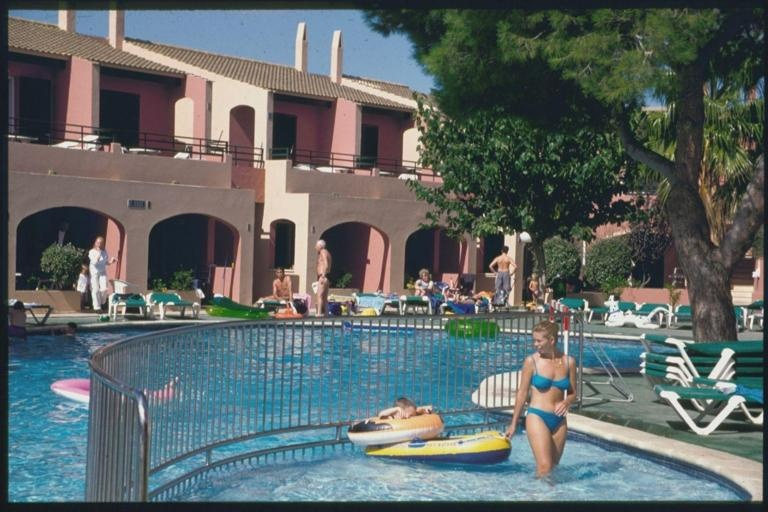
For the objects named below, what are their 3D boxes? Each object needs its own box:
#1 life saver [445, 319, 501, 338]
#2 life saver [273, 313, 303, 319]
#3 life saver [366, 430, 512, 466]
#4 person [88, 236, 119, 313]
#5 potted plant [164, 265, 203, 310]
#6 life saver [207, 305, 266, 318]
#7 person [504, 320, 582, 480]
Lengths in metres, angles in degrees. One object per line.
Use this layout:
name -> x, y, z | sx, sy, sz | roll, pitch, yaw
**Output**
life saver -> 1.605, 1.328, 24.927 | 1.043, 0.359, 0.646 | 4, -4, -39
life saver -> -2.269, 1.388, 31.501 | 0.572, 0.219, 0.346 | 5, -5, -11
life saver -> 1.051, 3.355, 23.701 | 2.340, 0.584, 0.229 | 0, -3, 10
person -> -7.369, 0.432, 34.959 | 0.634, 1.894, 0.648 | -1, 2, -25
potted plant -> -5.635, 0.844, 38.295 | 1.028, 1.589, 1.292 | -1, 3, 3
life saver -> -3.830, 1.488, 35.340 | 1.196, 0.184, 0.834 | 4, 2, 23
person -> 2.770, 2.453, 23.146 | 1.047, 2.680, 0.419 | 1, -3, 4
